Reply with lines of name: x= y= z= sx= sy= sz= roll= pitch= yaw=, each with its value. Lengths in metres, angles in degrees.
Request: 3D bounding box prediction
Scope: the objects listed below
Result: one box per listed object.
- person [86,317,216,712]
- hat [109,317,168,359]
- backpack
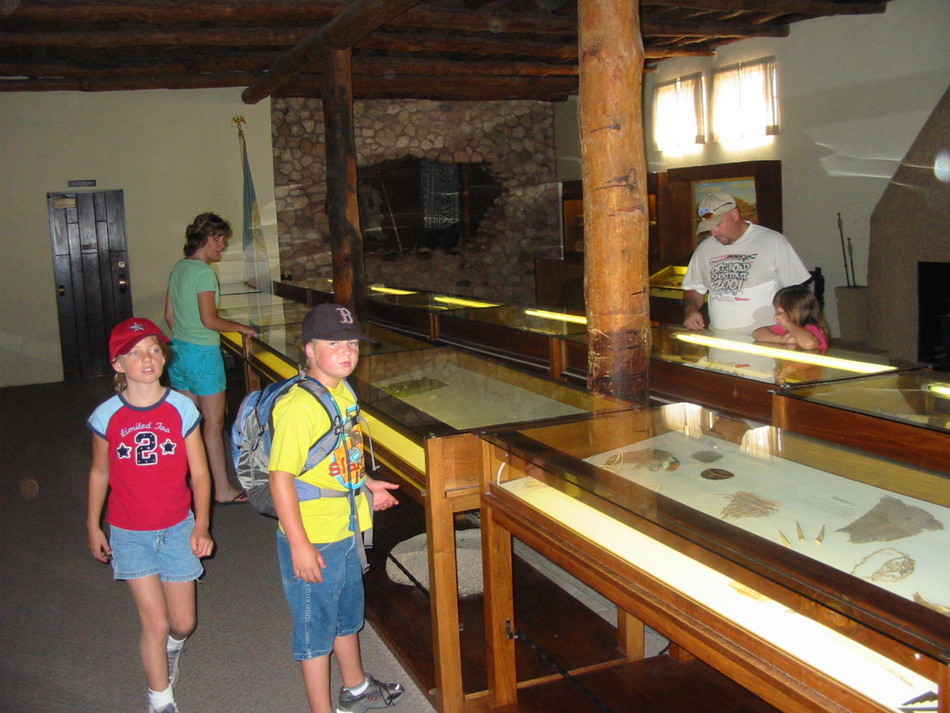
person: x=-1.211 y=0.618 z=2.700 sx=0.439 sy=1.495 sz=0.414 roll=-9 pitch=13 yaw=-24
hat: x=-1.265 y=-0.071 z=2.681 sx=0.183 sy=0.137 sz=0.263 roll=-8 pitch=13 yaw=-21
backpack: x=-0.641 y=0.299 z=2.457 sx=0.387 sy=0.443 sz=0.367 roll=5 pitch=8 yaw=9
